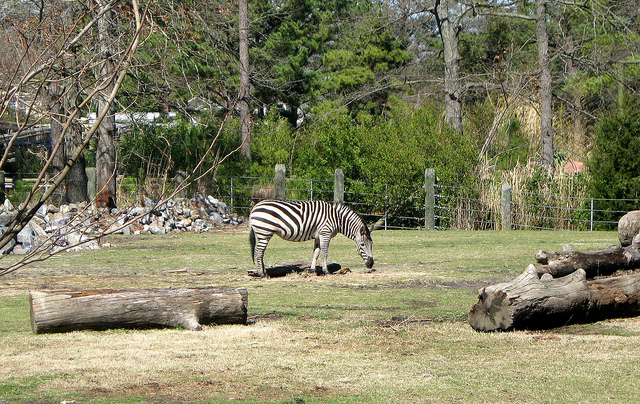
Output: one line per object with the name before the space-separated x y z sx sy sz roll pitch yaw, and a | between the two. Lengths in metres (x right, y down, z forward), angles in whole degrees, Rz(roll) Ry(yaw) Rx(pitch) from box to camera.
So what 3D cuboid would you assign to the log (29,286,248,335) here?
log | -5.347 3.222 40.111 6.125 1.396 0.337 0 -2 -5
